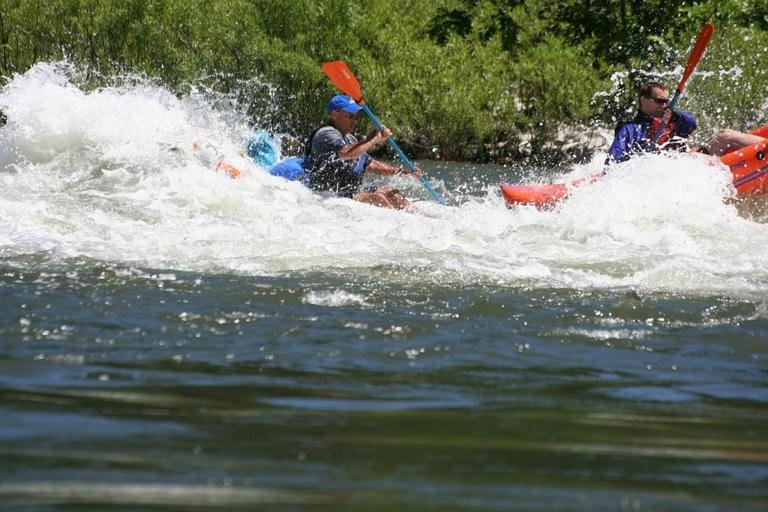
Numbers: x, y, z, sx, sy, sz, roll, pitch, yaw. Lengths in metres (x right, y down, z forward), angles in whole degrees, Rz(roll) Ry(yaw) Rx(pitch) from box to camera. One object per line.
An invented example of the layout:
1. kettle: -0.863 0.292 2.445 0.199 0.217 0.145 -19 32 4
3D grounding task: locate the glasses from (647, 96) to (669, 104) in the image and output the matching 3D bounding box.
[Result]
1. glasses: 3.309 -1.911 14.312 0.276 0.113 0.101 7 18 -3

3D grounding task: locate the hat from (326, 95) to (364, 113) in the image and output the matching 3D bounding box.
1. hat: -0.460 -1.871 14.385 0.359 0.122 0.211 4 9 -11

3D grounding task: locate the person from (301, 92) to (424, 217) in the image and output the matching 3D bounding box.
1. person: -0.327 -1.297 14.316 1.258 1.204 1.230 8 17 -4

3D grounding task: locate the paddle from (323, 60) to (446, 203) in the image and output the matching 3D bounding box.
1. paddle: 0.171 -1.441 15.283 0.331 2.828 0.131 -18 32 39

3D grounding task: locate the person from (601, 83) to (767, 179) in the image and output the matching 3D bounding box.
1. person: 3.391 -1.565 14.399 1.115 0.805 1.617 -5 4 -37
